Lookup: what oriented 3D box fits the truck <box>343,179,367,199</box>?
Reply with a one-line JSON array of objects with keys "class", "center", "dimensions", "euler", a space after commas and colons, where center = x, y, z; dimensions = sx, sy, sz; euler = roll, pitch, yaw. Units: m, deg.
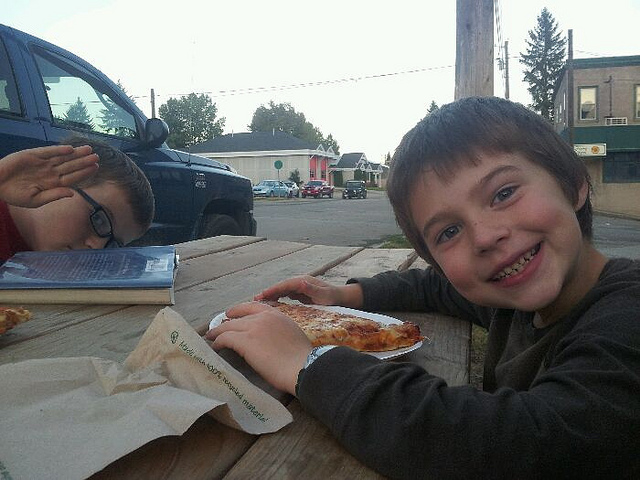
[{"class": "truck", "center": [3.046, -4.292, 36.419], "dimensions": [1.260, 1.255, 2.265], "euler": [0, 5, 8]}]

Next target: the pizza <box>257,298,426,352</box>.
[{"class": "pizza", "center": [0.076, 0.269, 1.305], "dimensions": [0.311, 0.046, 0.187], "euler": [8, 5, 14]}]

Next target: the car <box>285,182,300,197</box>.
[{"class": "car", "center": [-2.556, -4.727, 40.235], "dimensions": [0.973, 0.905, 1.627], "euler": [-1, 2, -1]}]
